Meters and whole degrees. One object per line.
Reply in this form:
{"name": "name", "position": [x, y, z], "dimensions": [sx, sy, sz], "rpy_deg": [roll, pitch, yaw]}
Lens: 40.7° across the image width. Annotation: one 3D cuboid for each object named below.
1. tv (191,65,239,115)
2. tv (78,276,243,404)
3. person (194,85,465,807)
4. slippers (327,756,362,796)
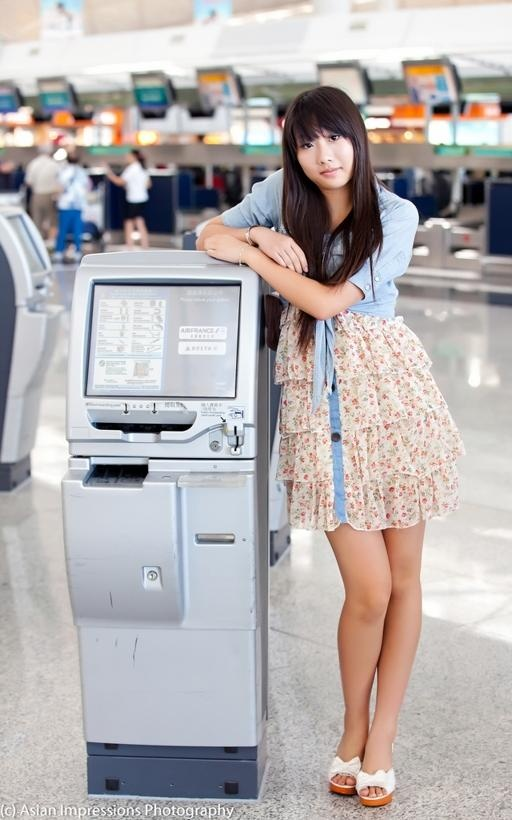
{"name": "tv", "position": [-0.562, -4.185, 8.949], "dimensions": [0.541, 0.527, 0.957], "rpy_deg": [-1, 4, -2]}
{"name": "tv", "position": [-0.175, -0.125, 1.328], "dimensions": [0.243, 0.193, 0.026], "rpy_deg": [1, -6, 10]}
{"name": "person", "position": [0.178, 0.105, 1.465], "dimensions": [0.570, 1.449, 0.354], "rpy_deg": [-1, 2, -5]}
{"name": "slippers", "position": [0.188, 0.780, 1.468], "dimensions": [0.037, 0.043, 0.107], "rpy_deg": [0, -8, 5]}
